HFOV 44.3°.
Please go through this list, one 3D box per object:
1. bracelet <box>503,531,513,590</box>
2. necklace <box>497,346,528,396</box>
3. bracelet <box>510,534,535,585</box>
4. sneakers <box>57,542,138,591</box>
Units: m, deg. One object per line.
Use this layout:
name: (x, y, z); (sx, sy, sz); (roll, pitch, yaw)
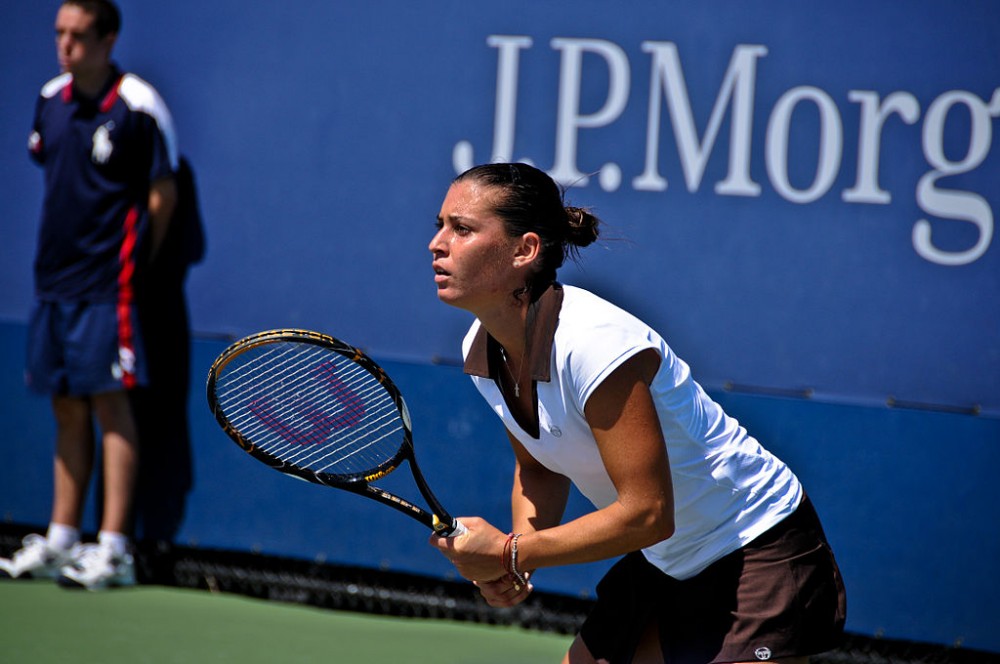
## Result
bracelet: (0.033, 0.887, 4.737); (0.036, 0.140, 0.109); (0, -11, 5)
necklace: (0.051, 0.156, 4.799); (0.025, 0.068, 0.200); (-11, 58, -45)
bracelet: (0.105, 0.884, 4.748); (0.056, 0.184, 0.130); (-3, 1, 0)
sneakers: (-2.058, 1.214, 6.321); (0.331, 0.235, 0.167); (-1, -4, -26)
